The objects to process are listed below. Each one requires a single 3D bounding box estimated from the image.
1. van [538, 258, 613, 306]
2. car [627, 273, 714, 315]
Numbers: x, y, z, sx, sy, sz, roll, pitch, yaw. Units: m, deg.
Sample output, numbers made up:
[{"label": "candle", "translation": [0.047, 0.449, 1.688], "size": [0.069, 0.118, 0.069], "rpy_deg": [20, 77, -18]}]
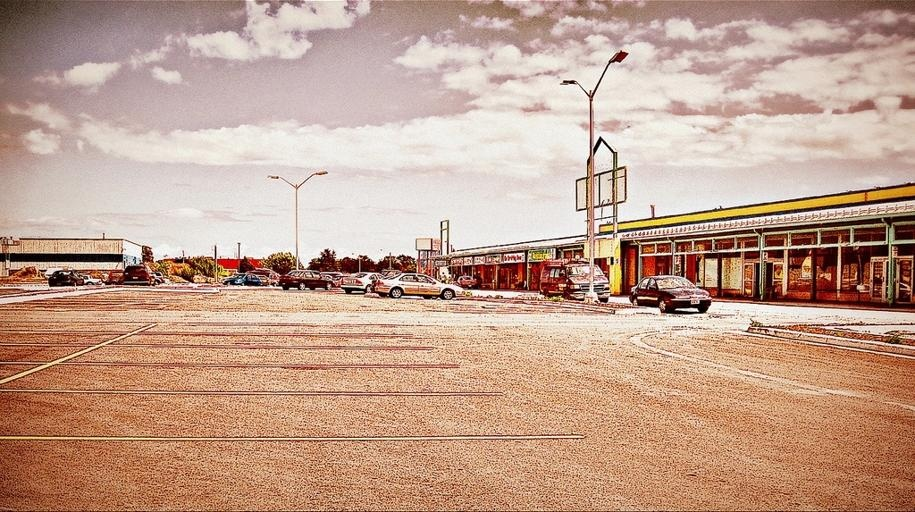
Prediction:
[{"label": "van", "translation": [6.772, 1.412, 41.095], "size": [2.283, 1.485, 3.866], "rpy_deg": [2, -4, -21]}, {"label": "car", "translation": [9.450, 1.625, 31.308], "size": [1.631, 1.006, 3.335], "rpy_deg": [2, -5, -17]}]
